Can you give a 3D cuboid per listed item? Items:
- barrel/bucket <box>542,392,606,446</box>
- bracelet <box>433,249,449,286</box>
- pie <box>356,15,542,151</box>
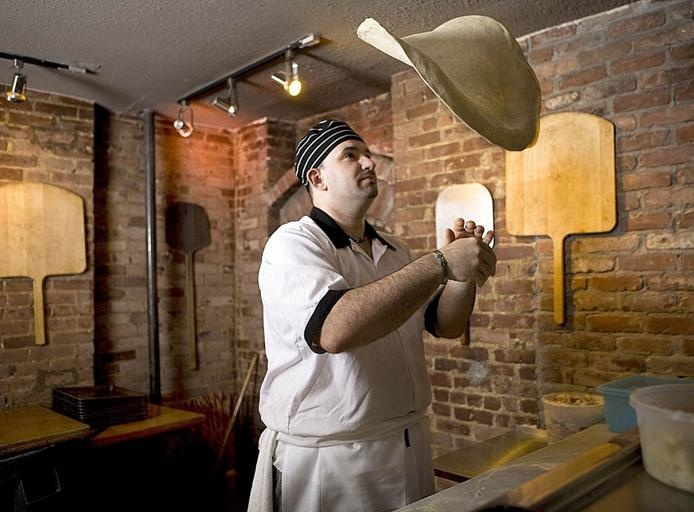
[{"bbox_3d":[1.099,0.809,2.671,0.263,0.212,0.272,-3,-5,0],"label":"barrel/bucket"},{"bbox_3d":[0.316,0.041,1.834,0.047,0.113,0.072,-4,-5,9],"label":"bracelet"},{"bbox_3d":[0.326,-0.562,1.660,0.602,0.509,0.224,2,-6,-43],"label":"pie"}]
